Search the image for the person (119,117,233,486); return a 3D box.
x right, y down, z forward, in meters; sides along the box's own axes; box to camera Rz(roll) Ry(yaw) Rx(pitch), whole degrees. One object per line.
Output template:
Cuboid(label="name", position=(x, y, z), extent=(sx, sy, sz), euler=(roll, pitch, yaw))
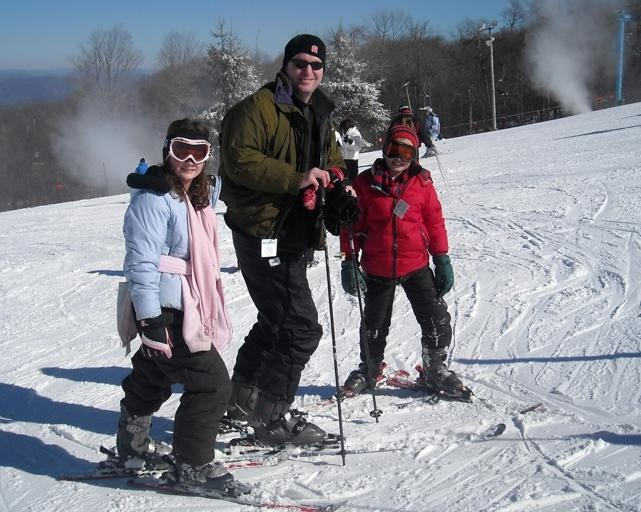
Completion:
Cuboid(label="person", position=(-1.013, 0.313, 3.805), extent=(0.779, 2.423, 0.491), euler=(-5, 8, -10))

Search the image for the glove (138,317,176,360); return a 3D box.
Cuboid(label="glove", position=(-1.059, 0.513, 3.737), extent=(0.252, 0.263, 0.111), euler=(-11, 7, 3))

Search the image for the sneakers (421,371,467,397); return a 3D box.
Cuboid(label="sneakers", position=(1.062, 1.084, 4.850), extent=(0.430, 0.209, 0.148), euler=(8, 51, 29))

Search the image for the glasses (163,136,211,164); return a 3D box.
Cuboid(label="glasses", position=(-0.867, -0.701, 3.821), extent=(0.296, 0.177, 0.150), euler=(-6, 8, -21))

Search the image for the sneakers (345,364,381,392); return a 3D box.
Cuboid(label="sneakers", position=(0.409, 1.077, 5.006), extent=(0.427, 0.193, 0.165), euler=(-16, 3, -42))

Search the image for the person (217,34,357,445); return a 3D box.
Cuboid(label="person", position=(-0.216, -0.056, 4.092), extent=(0.905, 2.917, 0.466), euler=(-5, 8, -10))

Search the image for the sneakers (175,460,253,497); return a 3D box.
Cuboid(label="sneakers", position=(-0.706, 1.455, 3.879), extent=(0.533, 0.228, 0.208), euler=(4, 10, 0))

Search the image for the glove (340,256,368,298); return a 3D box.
Cuboid(label="glove", position=(0.255, 0.174, 4.608), extent=(0.222, 0.308, 0.108), euler=(-31, -19, 17))

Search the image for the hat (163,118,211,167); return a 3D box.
Cuboid(label="hat", position=(-0.889, -0.784, 3.876), extent=(0.246, 0.341, 0.160), euler=(9, 7, -14))
